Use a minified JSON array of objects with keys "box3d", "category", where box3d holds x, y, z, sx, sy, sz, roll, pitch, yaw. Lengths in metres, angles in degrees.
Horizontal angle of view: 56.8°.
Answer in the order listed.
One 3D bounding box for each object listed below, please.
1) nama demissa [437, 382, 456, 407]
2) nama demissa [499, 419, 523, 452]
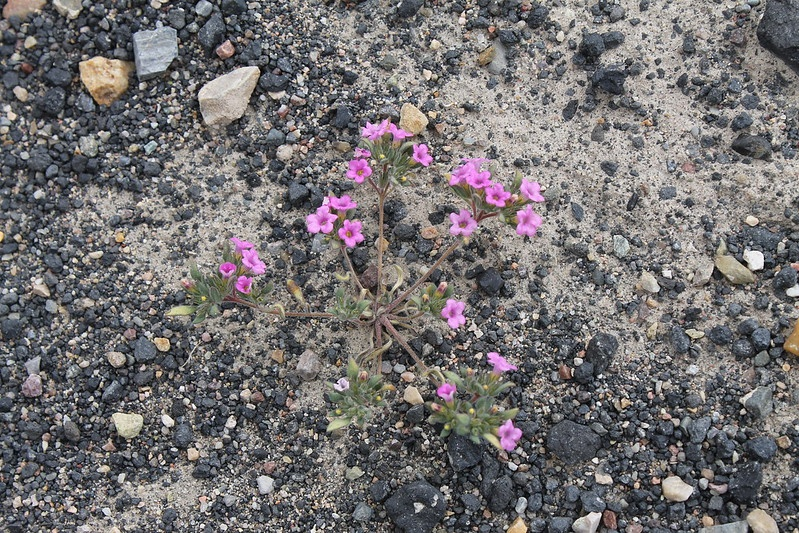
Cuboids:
[{"box3d":[0.470,1.266,7.369,0.178,0.379,0.191,-7,84,-1],"category":"nama demissa"},{"box3d":[1.041,1.628,7.092,0.226,0.273,0.214,-40,86,-4],"category":"nama demissa"}]
